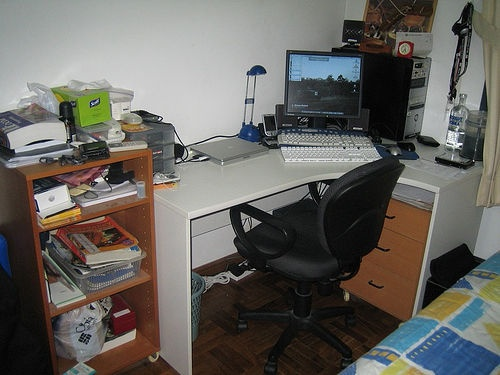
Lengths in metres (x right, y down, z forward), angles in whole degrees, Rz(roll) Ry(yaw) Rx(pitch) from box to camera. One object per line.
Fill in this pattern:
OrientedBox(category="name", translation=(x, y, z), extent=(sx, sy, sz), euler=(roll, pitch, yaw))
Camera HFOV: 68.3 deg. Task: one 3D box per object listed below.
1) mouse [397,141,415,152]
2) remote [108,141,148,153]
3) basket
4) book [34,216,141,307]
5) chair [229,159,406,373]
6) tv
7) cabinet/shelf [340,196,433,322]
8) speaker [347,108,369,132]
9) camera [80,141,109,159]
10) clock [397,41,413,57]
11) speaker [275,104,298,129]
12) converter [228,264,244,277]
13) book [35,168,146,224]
OrientedBox(category="mouse", translation=(1.088, -0.300, 2.572), extent=(0.068, 0.038, 0.106), euler=(-13, 26, -18))
OrientedBox(category="remote", translation=(-0.580, -0.202, 1.757), extent=(0.130, 0.021, 0.069), euler=(-9, 25, -24))
OrientedBox(category="basket", translation=(-0.826, 0.328, 1.842), extent=(0.332, 0.109, 0.287), euler=(18, 25, 41))
OrientedBox(category="book", translation=(-0.786, 0.336, 1.836), extent=(0.375, 0.162, 0.449), euler=(-21, 33, -36))
OrientedBox(category="chair", translation=(0.405, 0.456, 2.090), extent=(0.759, 1.060, 0.740), euler=(-22, 35, -37))
OrientedBox(category="tv", translation=(0.515, -0.696, 2.584), extent=(0.576, 0.529, 0.188), euler=(3, 19, -6))
OrientedBox(category="cabinet/shelf", translation=(1.042, 0.390, 2.533), extent=(0.530, 0.862, 0.519), euler=(-18, 28, -36))
OrientedBox(category="speaker", translation=(0.778, -0.492, 2.654), extent=(0.143, 0.136, 0.077), euler=(9, 18, 6))
OrientedBox(category="camera", translation=(-0.691, -0.164, 1.643), extent=(0.114, 0.071, 0.078), euler=(-14, 37, -35))
OrientedBox(category="clock", translation=(1.134, -1.009, 2.682), extent=(0.109, 0.104, 0.131), euler=(7, 27, 20))
OrientedBox(category="speaker", translation=(0.258, -0.514, 2.639), extent=(0.187, 0.190, 0.103), euler=(-1, 3, -16))
OrientedBox(category="converter", translation=(-0.107, 0.624, 2.785), extent=(0.073, 0.017, 0.074), euler=(15, 20, 41))
OrientedBox(category="book", translation=(-0.769, 0.001, 1.750), extent=(0.475, 0.152, 0.278), euler=(-18, 29, -30))
